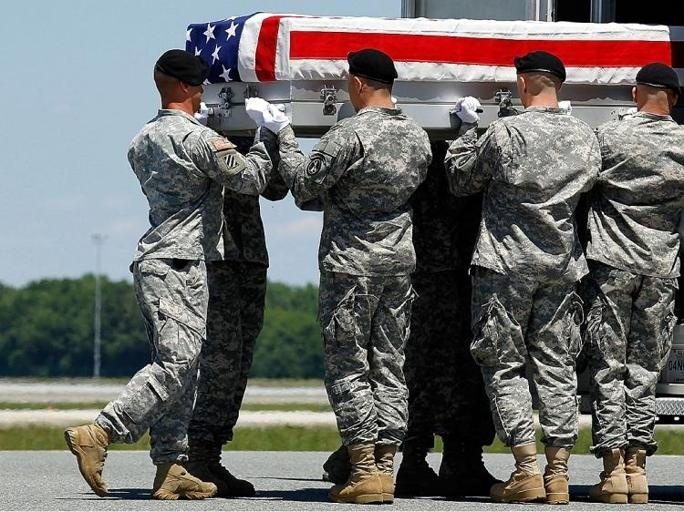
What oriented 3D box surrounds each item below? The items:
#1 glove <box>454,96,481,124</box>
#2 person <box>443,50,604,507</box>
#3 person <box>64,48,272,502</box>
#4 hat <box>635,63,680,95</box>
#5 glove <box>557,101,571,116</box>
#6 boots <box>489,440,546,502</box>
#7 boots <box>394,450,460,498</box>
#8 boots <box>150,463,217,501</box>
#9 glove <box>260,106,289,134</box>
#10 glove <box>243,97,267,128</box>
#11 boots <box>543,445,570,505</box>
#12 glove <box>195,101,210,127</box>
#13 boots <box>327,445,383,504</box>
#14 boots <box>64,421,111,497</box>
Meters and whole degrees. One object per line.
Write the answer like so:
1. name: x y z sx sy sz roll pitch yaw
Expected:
1. glove: 0.831 -0.960 11.841 0.188 0.168 0.077 22 16 7
2. person: 1.214 0.125 11.737 0.977 2.898 0.405 -2 1 5
3. person: -1.072 0.116 11.643 1.313 2.877 0.559 -2 1 -6
4. hat: 2.088 -1.171 11.919 0.192 0.115 0.254 13 8 30
5. glove: 1.463 -0.969 11.852 0.108 0.057 0.102 -1 -3 29
6. boots: 1.138 1.380 11.693 0.386 0.402 0.199 -1 2 16
7. boots: 0.631 1.461 12.416 0.522 0.320 0.163 -1 -7 34
8. boots: -1.017 1.424 11.657 0.431 0.223 0.166 5 -1 -27
9. glove: -0.431 -0.881 11.719 0.204 0.166 0.079 1 7 -7
10. glove: -0.543 -0.941 11.783 0.156 0.174 0.075 -6 3 2
11. boots: 1.394 1.395 11.678 0.161 0.367 0.191 -2 1 6
12. glove: -0.916 -0.941 12.025 0.104 0.129 0.055 8 -7 45
13. boots: 0.093 1.368 11.598 0.370 0.384 0.148 -1 1 14
14. boots: -1.604 1.284 11.445 0.274 0.477 0.225 -2 1 -8
